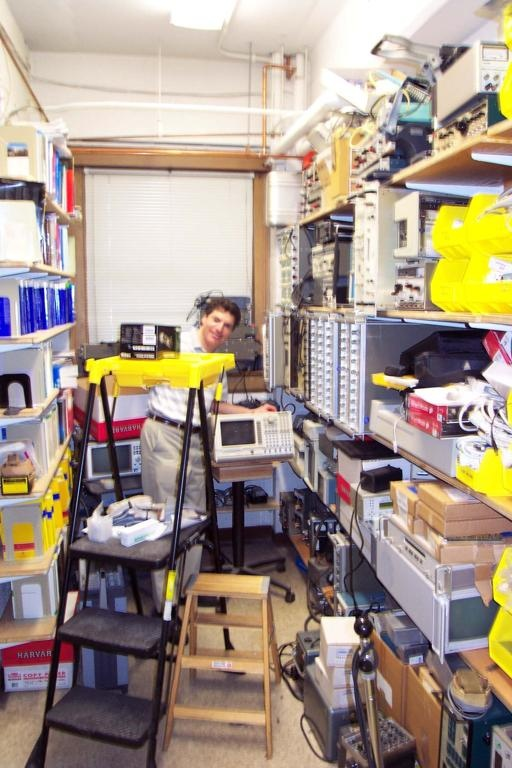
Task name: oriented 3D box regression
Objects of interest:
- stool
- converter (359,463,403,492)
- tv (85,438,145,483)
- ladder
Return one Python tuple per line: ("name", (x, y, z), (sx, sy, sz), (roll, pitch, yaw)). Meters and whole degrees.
("stool", (-0.115, 1.044, 2.269), (0.403, 0.572, 0.492), (3, 0, -5))
("converter", (0.491, 0.336, 2.298), (0.144, 0.094, 0.081), (-7, 1, -25))
("tv", (-0.833, 0.445, 3.420), (0.397, 0.287, 0.237), (0, -4, -19))
("ladder", (-0.462, 0.630, 1.966), (0.722, 1.456, 0.650), (-1, 9, 10))
